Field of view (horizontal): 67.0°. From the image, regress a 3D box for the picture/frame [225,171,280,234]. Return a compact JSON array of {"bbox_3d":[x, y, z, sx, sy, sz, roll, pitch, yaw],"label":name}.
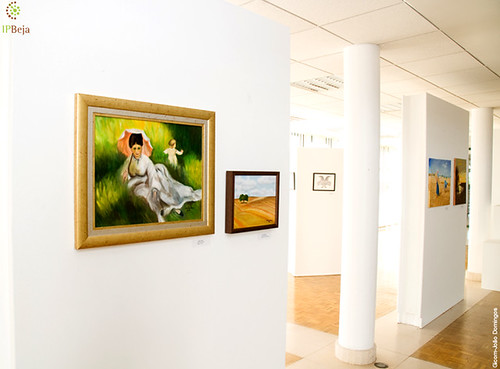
[{"bbox_3d":[-0.003,0.185,4.032,0.650,0.584,0.070,0,0,-44],"label":"picture/frame"}]
